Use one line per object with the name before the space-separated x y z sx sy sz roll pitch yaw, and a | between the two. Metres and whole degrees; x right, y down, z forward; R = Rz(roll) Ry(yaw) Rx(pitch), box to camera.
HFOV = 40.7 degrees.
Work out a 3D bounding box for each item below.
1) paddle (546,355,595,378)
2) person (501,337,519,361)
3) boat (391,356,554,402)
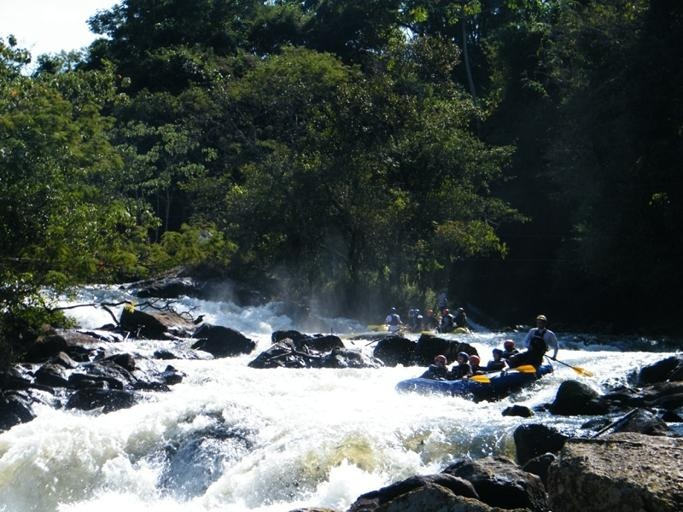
paddle | 8.829 4.351 35.706 1.763 0.252 0.082 28 15 26
person | 6.455 3.804 35.740 0.596 0.867 0.743 -19 6 36
boat | 5.210 4.745 33.829 3.719 0.733 2.027 -4 -10 -27
